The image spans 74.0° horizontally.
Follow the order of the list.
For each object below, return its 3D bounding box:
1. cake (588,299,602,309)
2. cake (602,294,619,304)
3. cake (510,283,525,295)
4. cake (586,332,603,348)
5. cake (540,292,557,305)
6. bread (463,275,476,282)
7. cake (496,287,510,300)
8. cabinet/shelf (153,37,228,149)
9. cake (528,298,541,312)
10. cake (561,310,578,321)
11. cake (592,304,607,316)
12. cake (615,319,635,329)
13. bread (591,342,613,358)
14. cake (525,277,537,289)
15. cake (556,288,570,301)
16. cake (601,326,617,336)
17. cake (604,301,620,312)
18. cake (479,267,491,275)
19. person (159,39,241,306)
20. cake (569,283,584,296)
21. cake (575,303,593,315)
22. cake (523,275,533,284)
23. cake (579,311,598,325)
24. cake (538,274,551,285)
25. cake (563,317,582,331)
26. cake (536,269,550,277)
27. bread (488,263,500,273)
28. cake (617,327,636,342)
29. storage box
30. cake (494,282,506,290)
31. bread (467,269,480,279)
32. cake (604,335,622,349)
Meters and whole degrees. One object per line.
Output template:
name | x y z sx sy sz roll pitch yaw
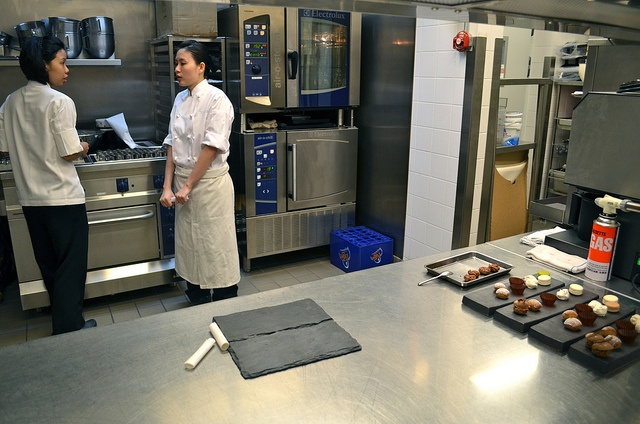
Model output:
cake | 1.256 0.416 1.942 0.039 0.016 0.040 -15 4 13
cake | 1.347 0.396 1.979 0.047 0.019 0.048 -1 9 1
cake | 0.950 0.368 2.039 0.055 0.025 0.054 -1 8 -11
cake | 1.122 0.517 1.732 0.053 0.032 0.054 -3 6 -5
cake | 1.061 0.403 1.970 0.055 0.026 0.055 4 7 16
bread | 0.760 0.333 2.149 0.046 0.018 0.034 -6 6 -4
cake | 0.864 0.385 2.007 0.048 0.031 0.052 -2 4 14
cabinet/shelf | -1.185 -1.169 4.179 0.825 0.943 0.835 4 9 31
cake | 0.978 0.424 1.935 0.050 0.033 0.057 -11 8 0
cake | 1.102 0.451 1.867 0.047 0.029 0.048 0 4 13
cake | 1.260 0.440 1.916 0.050 0.023 0.050 -31 43 -15
cake | 1.309 0.484 1.823 0.043 0.015 0.043 -1 8 -2
bread | 1.124 0.549 1.693 0.058 0.032 0.061 1 6 31
cake | 1.045 0.346 2.098 0.058 0.042 0.070 12 26 28
cake | 1.155 0.401 2.023 0.049 0.021 0.055 -25 49 -5
cake | 1.211 0.497 1.781 0.045 0.026 0.046 -6 7 -24
cake | 1.333 0.432 1.934 0.047 0.029 0.047 -2 7 7
cake | 0.863 0.301 2.219 0.060 0.024 0.068 3 23 11
person | -0.979 -0.242 3.456 0.649 2.126 0.639 -11 25 -20
cake | 1.231 0.373 2.039 0.053 0.031 0.053 -1 7 6
cake | 1.177 0.428 1.886 0.045 0.022 0.045 0 5 3
cake | 1.032 0.330 2.100 0.031 0.029 0.038 -9 -15 43
cake | 1.174 0.460 1.848 0.057 0.028 0.058 0 3 -2
cake | 1.116 0.339 2.112 0.050 0.029 0.050 -1 11 1
cake | 1.083 0.480 1.822 0.055 0.039 0.055 -6 7 -36
cake | 1.142 0.305 2.175 0.043 0.029 0.043 -4 11 0
bread | 0.924 0.295 2.228 0.033 0.023 0.046 3 8 41
cake | 1.287 0.509 1.773 0.051 0.031 0.051 0 5 0
storage box | 0.451 0.309 4.392 0.478 0.304 0.480 -10 18 -29
cake | 0.878 0.357 2.058 0.034 0.019 0.034 -1 8 16
bread | 0.783 0.319 2.166 0.042 0.027 0.057 -8 14 -24
cake | 1.196 0.527 1.729 0.061 0.034 0.046 7 11 14
